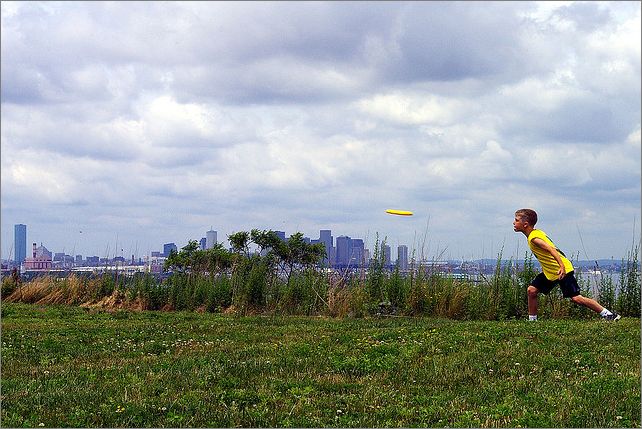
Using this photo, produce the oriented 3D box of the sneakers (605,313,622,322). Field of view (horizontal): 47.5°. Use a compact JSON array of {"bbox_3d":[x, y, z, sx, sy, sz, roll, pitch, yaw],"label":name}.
[{"bbox_3d":[7.353,2.576,18.356,0.567,0.200,0.254,2,3,29],"label":"sneakers"}]
